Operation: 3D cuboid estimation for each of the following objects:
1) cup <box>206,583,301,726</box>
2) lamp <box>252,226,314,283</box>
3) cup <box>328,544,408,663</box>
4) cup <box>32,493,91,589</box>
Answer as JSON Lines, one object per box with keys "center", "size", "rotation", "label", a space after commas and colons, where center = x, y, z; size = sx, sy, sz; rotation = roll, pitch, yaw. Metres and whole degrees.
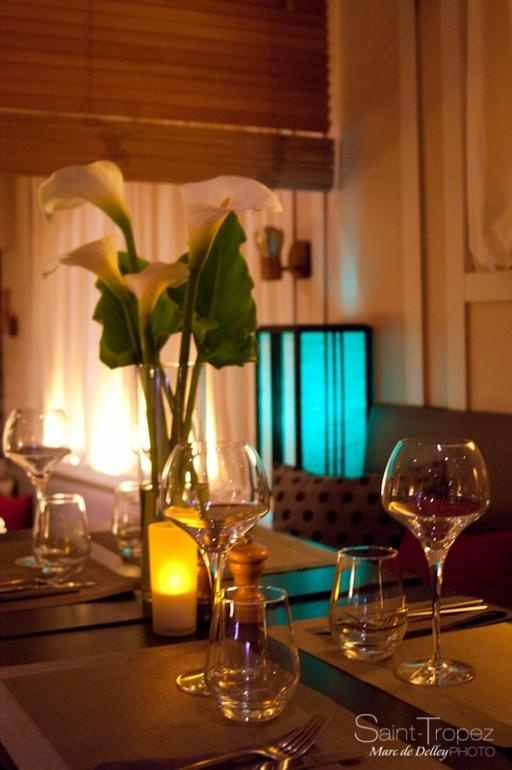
{"center": [-0.001, 0.174, 0.457], "size": [0.080, 0.108, 0.081], "rotation": [0, -3, 0], "label": "cup"}
{"center": [0.101, -0.502, 2.530], "size": [0.263, 0.267, 0.139], "rotation": [2, 2, 23], "label": "lamp"}
{"center": [0.110, 0.209, 0.625], "size": [0.069, 0.096, 0.074], "rotation": [-3, -6, 0], "label": "cup"}
{"center": [-0.263, 0.207, 0.896], "size": [0.074, 0.121, 0.077], "rotation": [2, 2, 0], "label": "cup"}
